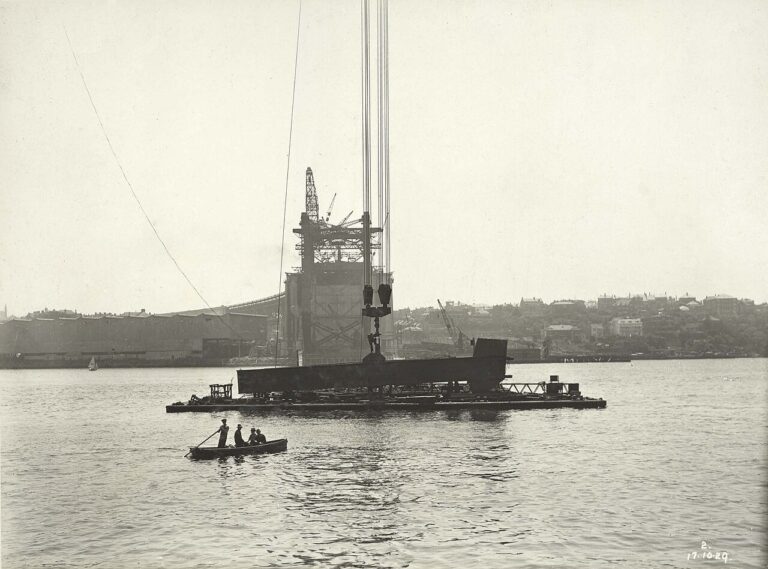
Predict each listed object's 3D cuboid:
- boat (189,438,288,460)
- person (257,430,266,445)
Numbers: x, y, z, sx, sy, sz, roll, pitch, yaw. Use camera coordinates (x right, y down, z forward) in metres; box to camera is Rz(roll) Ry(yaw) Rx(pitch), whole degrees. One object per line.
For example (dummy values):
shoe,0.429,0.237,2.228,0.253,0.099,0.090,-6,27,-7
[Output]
boat,-7.332,8.545,61.703,3.699,0.694,0.920,-2,-1,-13
person,-6.386,7.961,62.540,0.557,1.105,0.634,-4,2,-4
